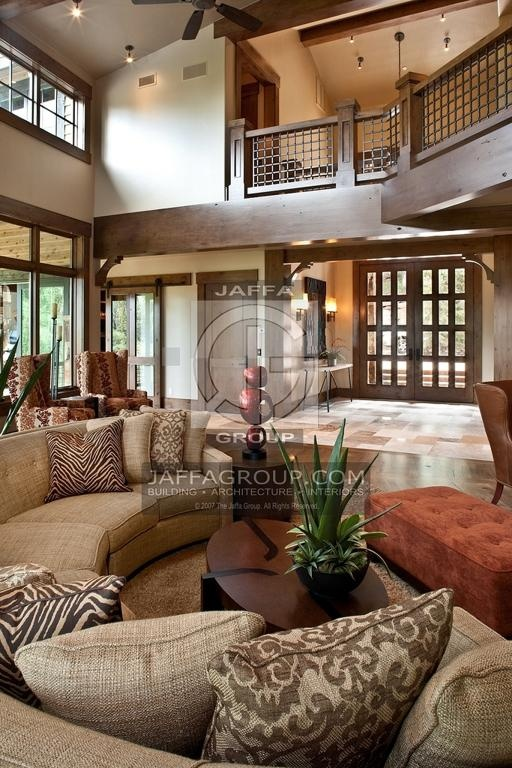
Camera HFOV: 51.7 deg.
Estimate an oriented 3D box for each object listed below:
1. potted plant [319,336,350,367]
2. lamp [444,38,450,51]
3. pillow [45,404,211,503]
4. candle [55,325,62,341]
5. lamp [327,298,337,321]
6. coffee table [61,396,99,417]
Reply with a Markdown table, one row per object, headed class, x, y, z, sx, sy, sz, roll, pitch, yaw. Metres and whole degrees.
| class | x | y | z | sx | sy | sz | roll | pitch | yaw |
| --- | --- | --- | --- | --- | --- | --- | --- | --- | --- |
| potted plant | 1.410 | -0.588 | 9.440 | 0.520 | 0.500 | 0.552 | 1 | -2 | 9 |
| lamp | 2.763 | -4.956 | 7.692 | 0.086 | 0.105 | 0.089 | 3 | 1 | -15 |
| pillow | -0.722 | 0.364 | 2.769 | 0.495 | 0.156 | 0.443 | 0 | 44 | -3 |
| candle | -1.823 | -0.486 | 4.927 | 0.036 | 0.134 | 0.181 | -3 | 6 | -20 |
| lamp | 1.338 | -1.334 | 9.484 | 0.177 | 0.407 | 0.612 | 0 | 5 | 8 |
| coffee table | -1.551 | 0.195 | 4.715 | 0.226 | 0.188 | 0.339 | 4 | 3 | 36 |
